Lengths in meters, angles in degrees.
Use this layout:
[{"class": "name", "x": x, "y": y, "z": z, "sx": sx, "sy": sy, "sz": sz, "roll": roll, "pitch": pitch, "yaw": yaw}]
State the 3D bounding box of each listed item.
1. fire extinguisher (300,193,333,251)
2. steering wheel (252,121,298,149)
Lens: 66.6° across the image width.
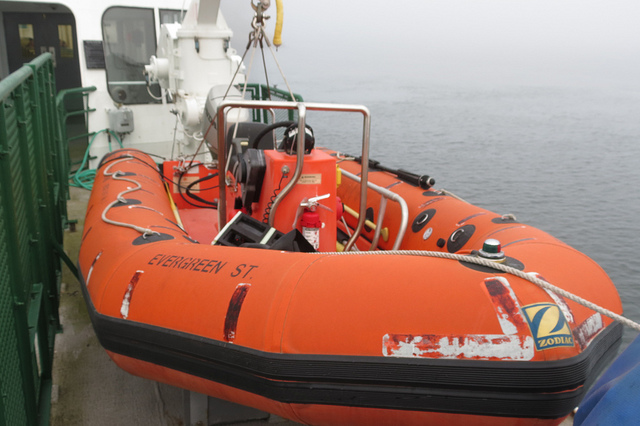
[{"class": "fire extinguisher", "x": -0.028, "y": 0.067, "z": 3.099, "sx": 0.186, "sy": 0.358, "sz": 0.169, "roll": 1, "pitch": -5, "yaw": -10}, {"class": "steering wheel", "x": -0.306, "y": -0.533, "z": 3.311, "sx": 0.235, "sy": 0.234, "sz": 0.048, "roll": 3, "pitch": 53, "yaw": -25}]
